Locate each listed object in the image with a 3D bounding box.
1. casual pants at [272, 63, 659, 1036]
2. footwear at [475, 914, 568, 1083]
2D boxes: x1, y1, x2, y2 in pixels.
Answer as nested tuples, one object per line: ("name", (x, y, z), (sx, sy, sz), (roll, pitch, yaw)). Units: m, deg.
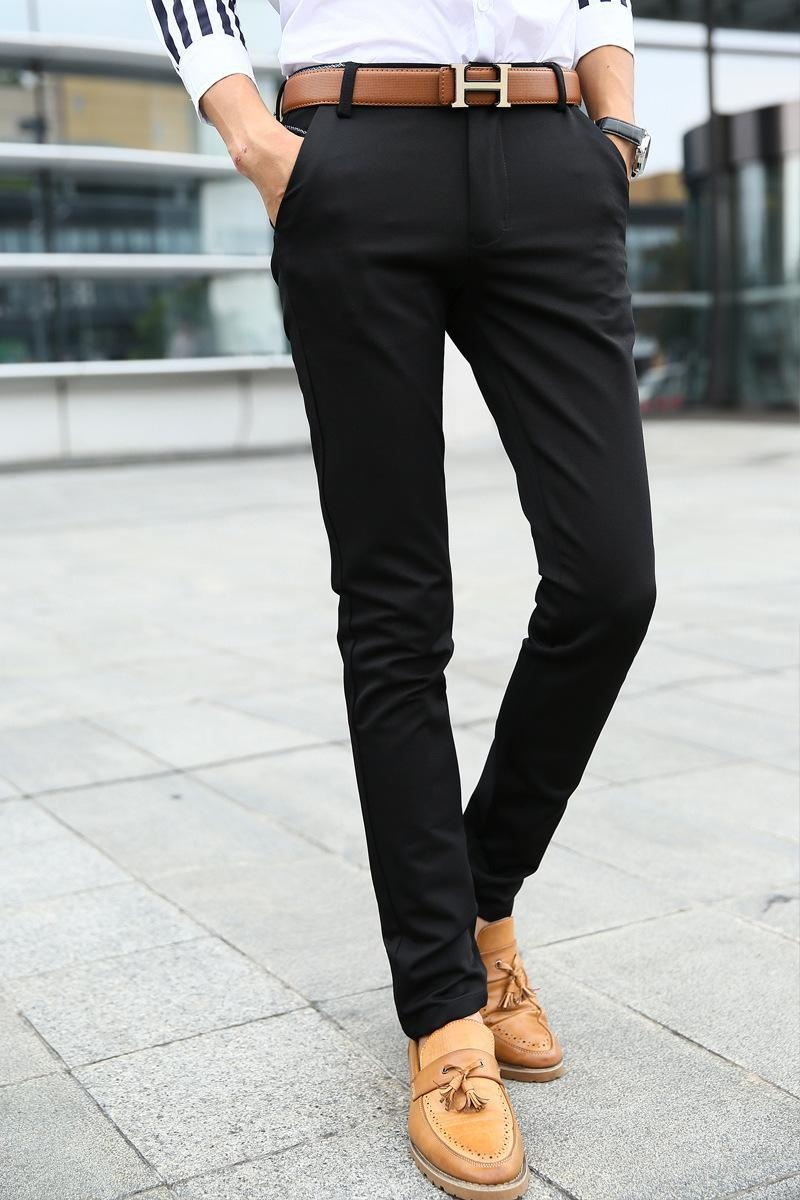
("casual pants", (0.045, -0.013, 0.910), (0.295, 0.816, 0.208), (-2, 3, -26))
("footwear", (0.115, 0.412, 1.071), (0.073, 0.116, 0.201), (-1, 3, -15))
